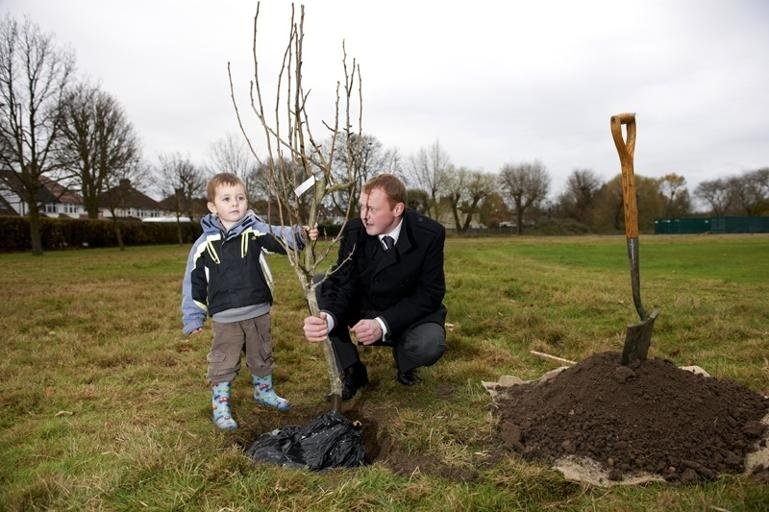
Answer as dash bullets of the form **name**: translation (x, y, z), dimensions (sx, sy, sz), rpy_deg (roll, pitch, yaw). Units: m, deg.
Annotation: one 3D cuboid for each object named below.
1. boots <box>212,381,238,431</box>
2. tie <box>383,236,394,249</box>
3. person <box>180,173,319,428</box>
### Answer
- **boots**: translation (-1.616, 1.505, 5.040), dimensions (0.188, 0.389, 0.536), rpy_deg (0, 12, -28)
- **tie**: translation (0.054, -0.143, 5.559), dimensions (0.085, 0.159, 0.036), rpy_deg (-14, 2, 10)
- **person**: translation (-1.492, 0.376, 5.241), dimensions (1.357, 2.406, 0.973), rpy_deg (9, 14, 37)
